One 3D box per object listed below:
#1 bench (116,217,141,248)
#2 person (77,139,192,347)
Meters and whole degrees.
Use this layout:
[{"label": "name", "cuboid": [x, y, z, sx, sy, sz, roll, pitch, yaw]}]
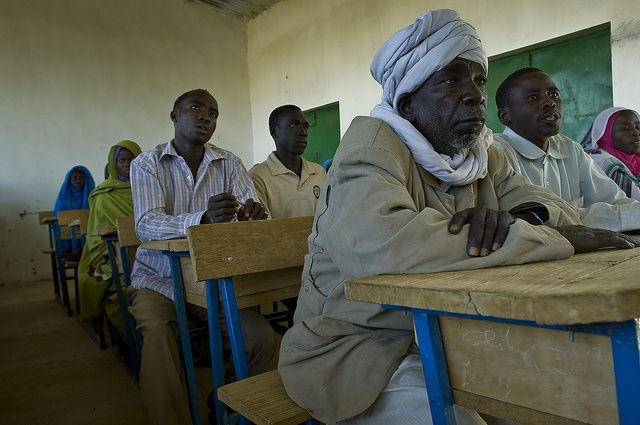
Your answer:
[{"label": "bench", "cuboid": [-1.224, 0.124, 2.952, 0.035, 0.283, 0.161, -4, 4, 40]}, {"label": "person", "cuboid": [-1.780, 0.175, 3.967, 0.582, 1.591, 0.601, 5, 17, -5]}]
